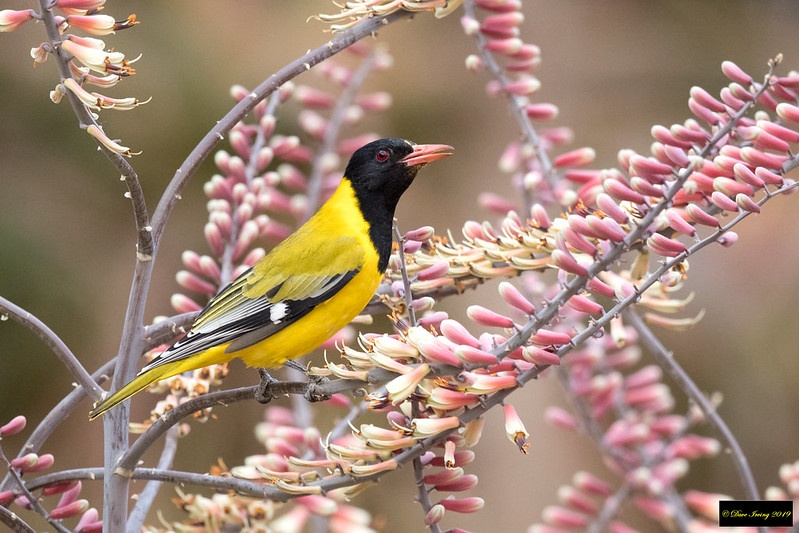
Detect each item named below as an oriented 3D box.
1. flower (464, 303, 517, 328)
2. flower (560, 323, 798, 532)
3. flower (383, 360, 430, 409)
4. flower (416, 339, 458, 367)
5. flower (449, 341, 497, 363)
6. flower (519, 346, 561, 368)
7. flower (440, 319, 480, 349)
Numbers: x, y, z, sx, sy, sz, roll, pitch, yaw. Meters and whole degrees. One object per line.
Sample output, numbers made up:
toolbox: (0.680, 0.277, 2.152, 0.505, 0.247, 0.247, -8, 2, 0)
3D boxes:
flower: (0.318, 0.181, 3.074, 0.206, 0.061, 0.062, 22, 1, -13)
flower: (1.147, 0.696, 3.666, 1.206, 0.382, 0.266, 51, -28, 31)
flower: (0.024, 0.384, 2.925, 0.069, 0.207, 0.058, 43, -36, 26)
flower: (0.130, 0.290, 2.941, 0.144, 0.065, 0.062, 23, -31, 6)
flower: (0.244, 0.275, 2.915, 0.122, 0.058, 0.046, 13, -71, 6)
flower: (0.464, 0.295, 2.912, 0.118, 0.057, 0.049, 7, -58, -10)
flower: (0.200, 0.224, 3.041, 0.155, 0.064, 0.063, 33, -14, 18)
